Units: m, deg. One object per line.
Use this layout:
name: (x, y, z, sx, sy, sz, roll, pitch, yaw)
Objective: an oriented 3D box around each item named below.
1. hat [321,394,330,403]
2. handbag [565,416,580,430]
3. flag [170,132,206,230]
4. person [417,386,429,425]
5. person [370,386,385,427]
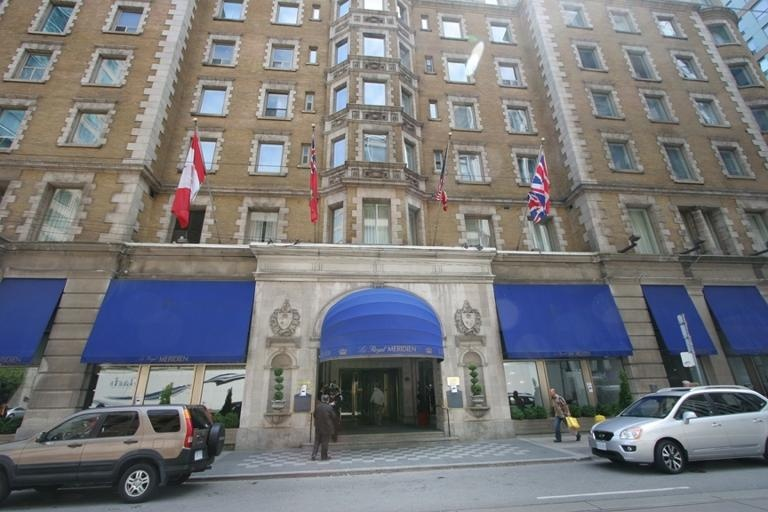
hat: (-2.758, 6.732, 20.076, 0.400, 0.386, 0.410, 6, -10, -3)
handbag: (9.414, 8.394, 21.367, 0.504, 0.618, 0.540, -9, -23, 15)
flag: (-10.559, -4.337, 23.327, 1.109, 5.489, 1.008, -15, -26, 25)
person: (2.295, 8.966, 25.661, 0.417, 2.280, 1.224, 11, -27, -31)
person: (-0.386, 9.272, 26.421, 0.848, 2.268, 1.380, -5, -23, 3)
